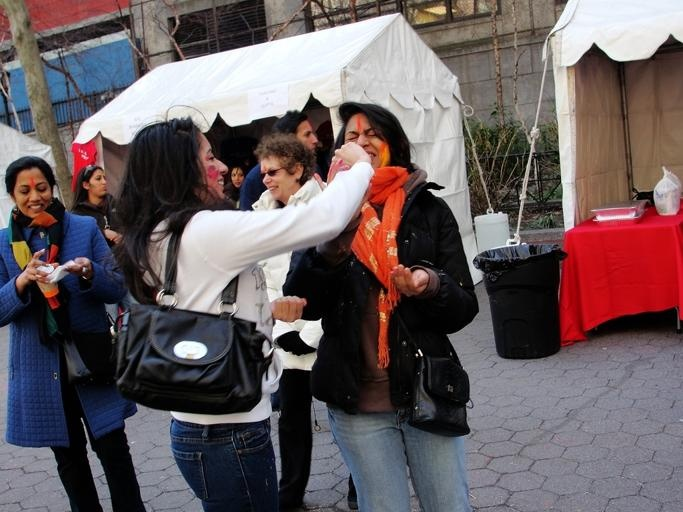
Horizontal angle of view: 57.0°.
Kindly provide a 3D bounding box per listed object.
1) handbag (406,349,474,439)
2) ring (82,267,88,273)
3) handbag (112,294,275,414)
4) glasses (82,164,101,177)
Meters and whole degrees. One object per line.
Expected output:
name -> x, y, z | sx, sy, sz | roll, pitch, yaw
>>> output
handbag -> 0.417, 0.591, 2.723 | 0.262, 0.368, 0.244 | -5, 10, 9
ring -> -1.519, 0.081, 3.679 | 0.026, 0.027, 0.010 | 3, -1, -43
handbag -> -0.575, 0.380, 2.394 | 0.558, 0.426, 0.236 | -5, 10, 7
glasses -> -2.523, -0.847, 6.276 | 0.113, 0.089, 0.147 | -27, 15, -24
